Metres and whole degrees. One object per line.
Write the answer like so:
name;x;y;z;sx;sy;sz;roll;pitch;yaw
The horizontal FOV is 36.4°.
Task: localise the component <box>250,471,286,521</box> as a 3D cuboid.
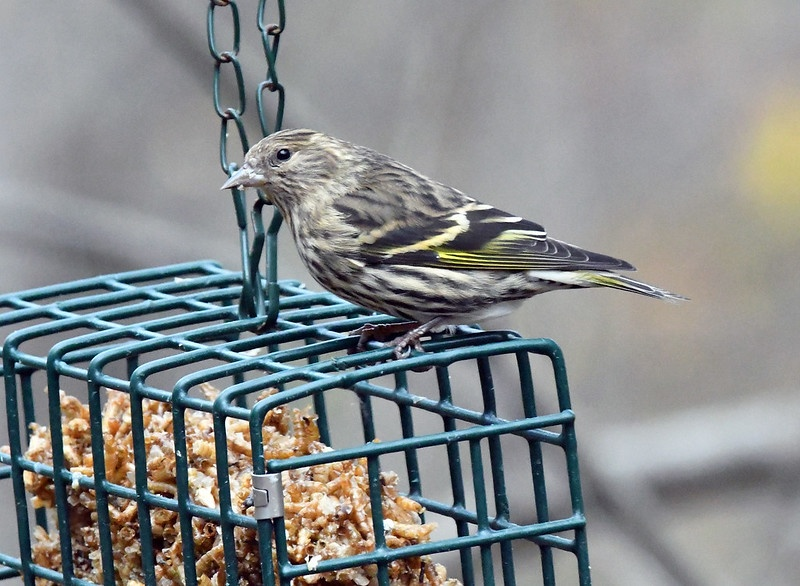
component;-0.346;0.528;3.157;0.079;0.074;0.120;-2;-53;-1
